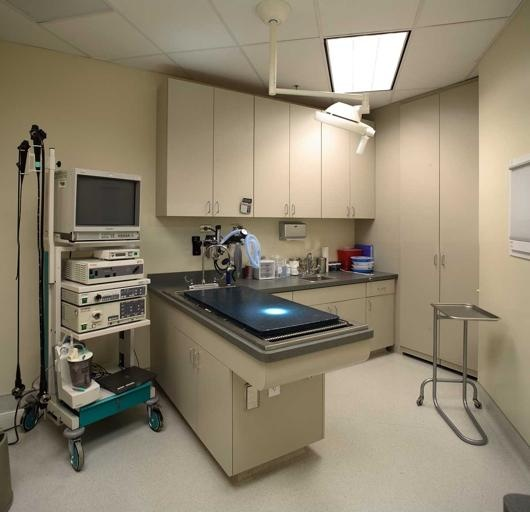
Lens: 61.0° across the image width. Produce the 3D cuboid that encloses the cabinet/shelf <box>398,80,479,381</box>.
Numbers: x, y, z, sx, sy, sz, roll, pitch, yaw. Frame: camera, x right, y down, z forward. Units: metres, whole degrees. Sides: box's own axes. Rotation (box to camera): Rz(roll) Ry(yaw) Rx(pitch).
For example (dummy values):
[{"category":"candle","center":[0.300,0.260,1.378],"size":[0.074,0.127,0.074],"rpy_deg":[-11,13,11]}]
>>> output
[{"category":"cabinet/shelf","center":[1.732,-0.234,4.217],"size":[0.360,2.596,0.796],"rpy_deg":[-7,8,-35]}]

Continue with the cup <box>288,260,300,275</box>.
[{"category":"cup","center":[0.286,0.116,4.496],"size":[0.106,0.150,0.198],"rpy_deg":[1,12,4]}]

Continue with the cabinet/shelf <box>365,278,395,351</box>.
[{"category":"cabinet/shelf","center":[1.164,0.617,4.485],"size":[0.451,0.763,0.117],"rpy_deg":[-8,14,-36]}]

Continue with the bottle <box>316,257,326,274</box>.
[{"category":"bottle","center":[0.582,0.101,4.683],"size":[0.117,0.145,0.147],"rpy_deg":[5,13,20]}]

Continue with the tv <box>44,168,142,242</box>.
[{"category":"tv","center":[-1.135,-0.319,3.055],"size":[0.352,0.488,0.477],"rpy_deg":[6,6,44]}]

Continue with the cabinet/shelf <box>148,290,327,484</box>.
[{"category":"cabinet/shelf","center":[-0.201,0.398,2.865],"size":[0.748,0.947,1.361],"rpy_deg":[-4,11,-31]}]

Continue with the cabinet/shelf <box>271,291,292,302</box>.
[{"category":"cabinet/shelf","center":[0.171,0.334,3.781],"size":[0.076,0.106,0.146],"rpy_deg":[4,4,44]}]

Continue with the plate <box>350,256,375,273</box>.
[{"category":"plate","center":[1.014,0.096,4.723],"size":[0.151,0.126,0.186],"rpy_deg":[0,-2,-6]}]

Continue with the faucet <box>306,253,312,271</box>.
[{"category":"faucet","center":[0.458,0.069,4.662],"size":[0.056,0.178,0.175],"rpy_deg":[1,12,5]}]
